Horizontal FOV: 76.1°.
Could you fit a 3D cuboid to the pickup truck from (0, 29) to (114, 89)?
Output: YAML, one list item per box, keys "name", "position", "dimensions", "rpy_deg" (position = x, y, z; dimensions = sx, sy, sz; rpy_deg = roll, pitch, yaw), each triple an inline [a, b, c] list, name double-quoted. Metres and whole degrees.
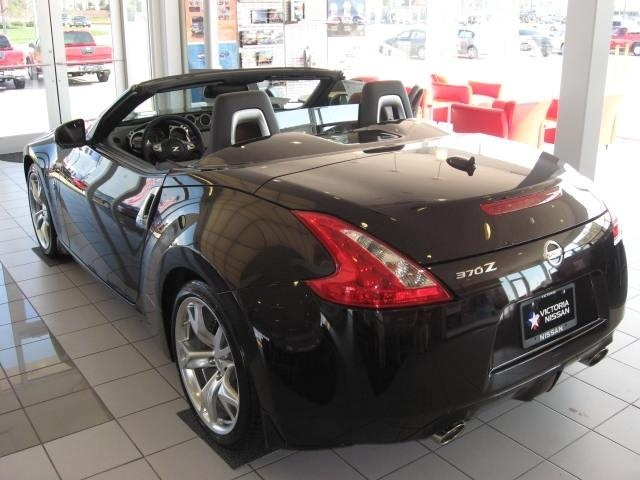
- name: "pickup truck"
  position: [-5.456, -3.830, 8.596]
  dimensions: [1.053, 0.774, 1.805]
  rpy_deg: [-11, 26, -37]
